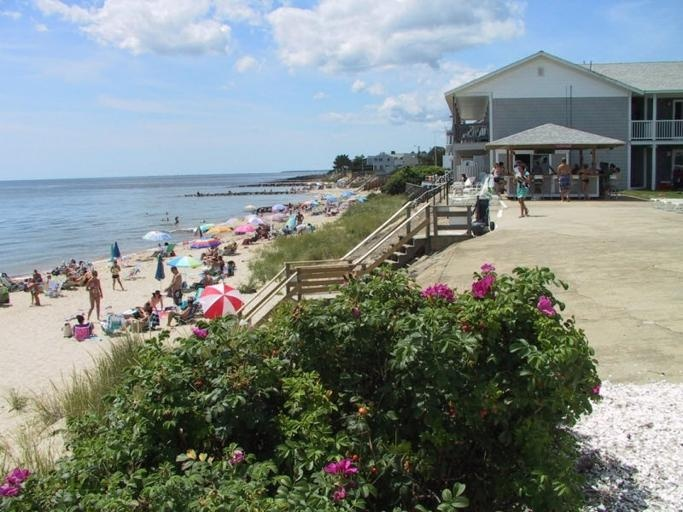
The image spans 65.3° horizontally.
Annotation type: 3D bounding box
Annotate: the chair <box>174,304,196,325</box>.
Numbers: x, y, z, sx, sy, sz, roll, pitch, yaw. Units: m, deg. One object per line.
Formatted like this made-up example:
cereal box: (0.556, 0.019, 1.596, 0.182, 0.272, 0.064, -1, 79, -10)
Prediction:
chair: (-5.480, 2.062, 18.858, 0.725, 0.693, 0.522, -2, 4, -2)
